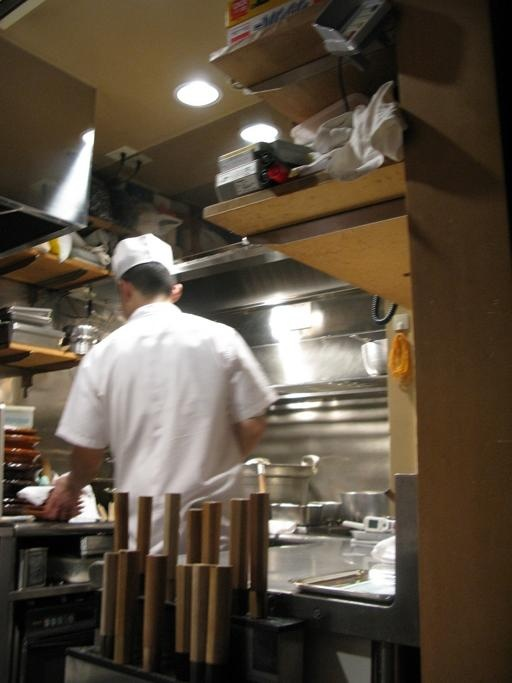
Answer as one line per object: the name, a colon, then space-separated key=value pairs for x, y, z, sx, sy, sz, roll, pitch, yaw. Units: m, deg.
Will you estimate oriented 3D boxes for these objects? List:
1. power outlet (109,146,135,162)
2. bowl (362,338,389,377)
power outlet: x=-0.749 y=-1.041 z=3.268 sx=0.182 sy=0.061 sz=0.100 roll=5 pitch=-6 yaw=42
bowl: x=0.521 y=0.073 z=2.628 sx=0.154 sy=0.125 sz=0.162 roll=1 pitch=-13 yaw=0
